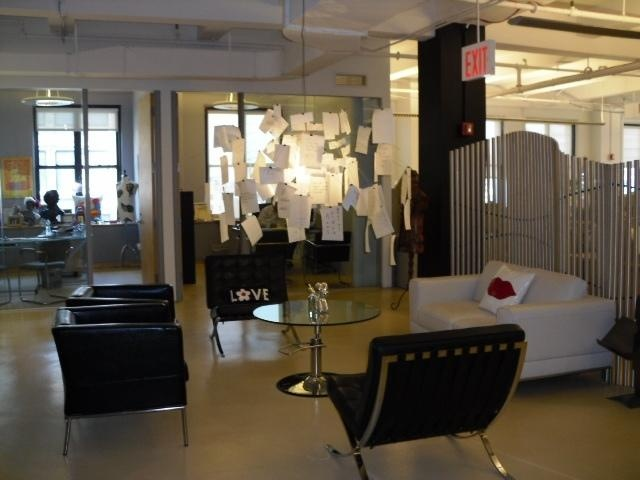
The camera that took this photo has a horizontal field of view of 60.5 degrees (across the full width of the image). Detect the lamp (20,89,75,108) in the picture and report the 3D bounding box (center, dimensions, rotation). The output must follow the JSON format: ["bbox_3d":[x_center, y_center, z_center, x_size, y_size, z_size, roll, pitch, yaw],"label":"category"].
[{"bbox_3d":[-4.008,-2.123,8.200,0.696,0.211,0.507,5,11,27],"label":"lamp"}]

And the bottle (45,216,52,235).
[{"bbox_3d":[-4.074,-0.183,8.278,0.095,0.243,0.039,-5,10,-26],"label":"bottle"}]

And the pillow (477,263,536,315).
[{"bbox_3d":[1.909,0.543,5.725,0.300,0.518,0.557,9,3,-12],"label":"pillow"}]

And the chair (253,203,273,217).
[{"bbox_3d":[-0.887,-0.476,8.749,0.279,0.232,0.187,-1,9,-6],"label":"chair"}]

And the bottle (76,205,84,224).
[{"bbox_3d":[-3.609,-0.368,8.289,0.126,0.246,0.053,-3,9,-15],"label":"bottle"}]

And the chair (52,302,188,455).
[{"bbox_3d":[-1.607,0.902,4.563,0.914,1.046,1.127,-3,6,-19],"label":"chair"}]

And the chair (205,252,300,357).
[{"bbox_3d":[-0.860,0.516,6.487,1.198,1.226,0.996,-3,8,-21],"label":"chair"}]

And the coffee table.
[{"bbox_3d":[-0.051,0.929,5.344,0.886,0.634,0.932,3,5,7],"label":"coffee table"}]
